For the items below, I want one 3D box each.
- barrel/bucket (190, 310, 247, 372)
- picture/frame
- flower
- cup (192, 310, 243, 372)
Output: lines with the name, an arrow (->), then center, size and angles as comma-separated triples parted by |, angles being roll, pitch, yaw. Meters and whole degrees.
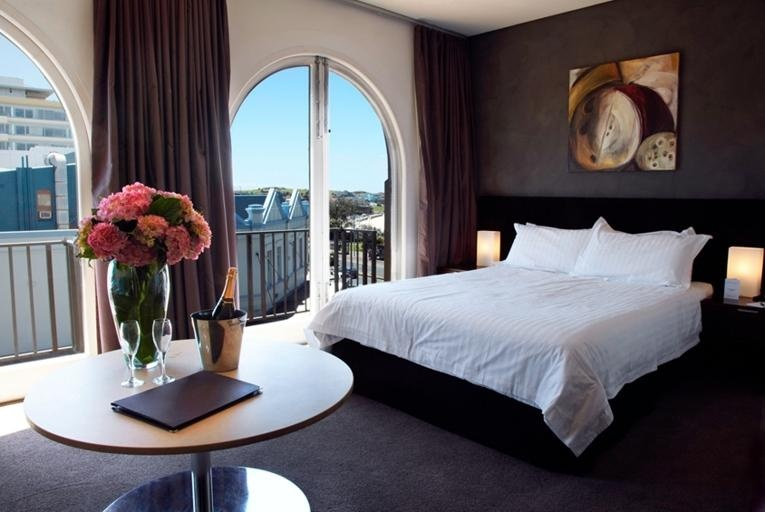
barrel/bucket -> -0.838, 0.439, 2.773 | 0.313, 0.259, 0.272 | 5, 10, 33
picture/frame -> 2.373, -1.420, 4.999 | 1.155, 1.275, 0.053 | 4, 7, 41
flower -> -1.314, 0.052, 2.814 | 0.633, 0.903, 0.659 | -5, 0, 17
cup -> -0.875, 0.446, 2.769 | 0.278, 0.281, 0.346 | -2, 4, -38
